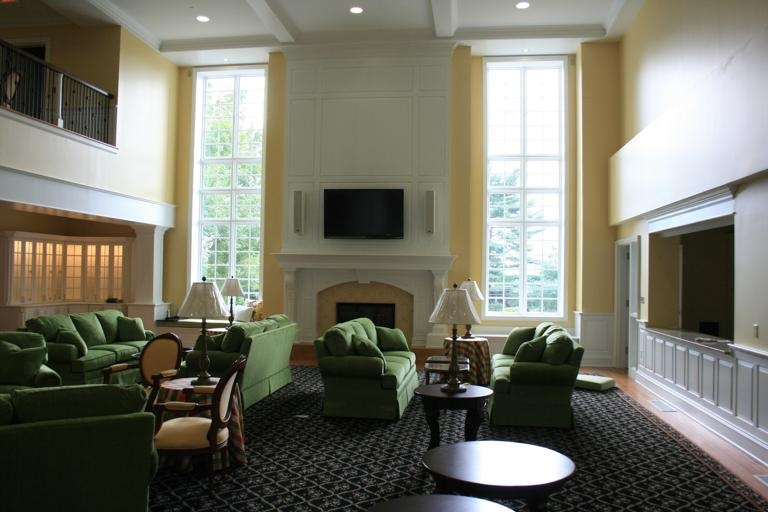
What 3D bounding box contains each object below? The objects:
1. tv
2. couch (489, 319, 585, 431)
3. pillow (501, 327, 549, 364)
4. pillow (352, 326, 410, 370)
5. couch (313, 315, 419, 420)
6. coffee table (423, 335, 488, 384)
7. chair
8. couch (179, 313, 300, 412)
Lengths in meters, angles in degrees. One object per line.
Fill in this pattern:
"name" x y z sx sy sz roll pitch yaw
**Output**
"tv" -0.450 -0.961 11.854 1.826 1.123 0.156 -1 6 -12
"couch" 2.368 1.785 8.616 1.287 1.283 2.691 2 -3 12
"pillow" 2.167 1.434 7.998 0.652 0.194 0.637 -26 25 45
"pillow" 0.061 1.688 9.097 0.610 0.430 1.236 0 -6 14
"couch" -0.150 1.749 8.841 1.234 1.203 2.489 1 -2 10
"coffee table" 1.375 1.831 9.665 1.111 0.913 1.068 0 -5 0
"chair" -2.671 1.804 6.528 1.633 1.991 1.508 0 -1 15
"couch" -2.664 1.708 8.660 1.098 1.178 2.444 2 -8 -10
